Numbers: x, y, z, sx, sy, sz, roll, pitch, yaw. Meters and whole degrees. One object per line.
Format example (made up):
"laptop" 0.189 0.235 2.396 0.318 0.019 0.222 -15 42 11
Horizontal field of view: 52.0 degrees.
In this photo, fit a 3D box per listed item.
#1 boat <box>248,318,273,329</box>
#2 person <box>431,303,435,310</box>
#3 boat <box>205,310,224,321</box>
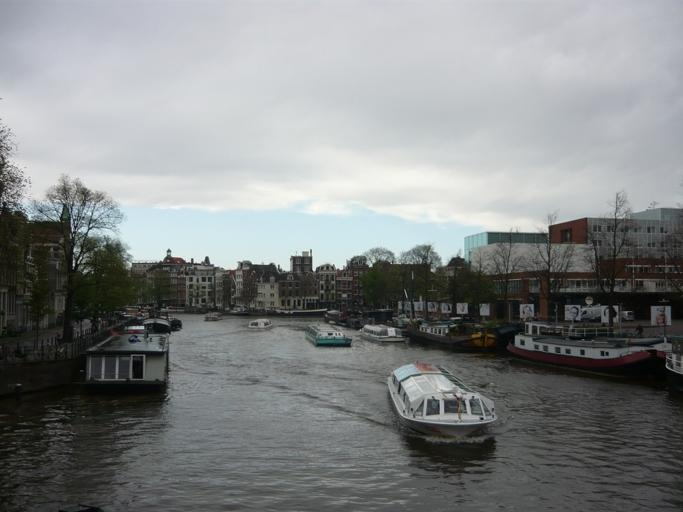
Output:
"boat" -14.335 12.225 123.666 3.243 1.730 7.081 0 3 2
"person" 13.532 7.479 103.831 0.980 0.906 1.742 2 -7 4
"boat" -29.375 13.958 160.114 2.112 1.777 6.903 3 3 3
